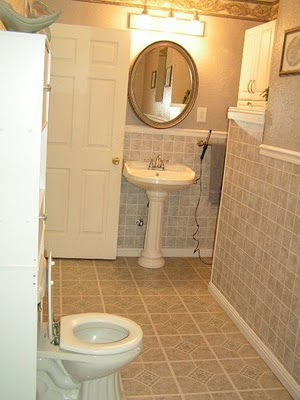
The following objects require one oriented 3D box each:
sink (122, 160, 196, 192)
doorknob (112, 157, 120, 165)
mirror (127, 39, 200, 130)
[{"bbox_3d":[0.087,-0.245,3.308,0.501,0.181,0.465,1,14,-9],"label":"sink"},{"bbox_3d":[-0.349,-0.404,3.303,0.065,0.068,0.043,0,-2,-24],"label":"doorknob"},{"bbox_3d":[0.116,-1.262,3.406,0.897,1.050,0.108,-2,11,-16],"label":"mirror"}]
